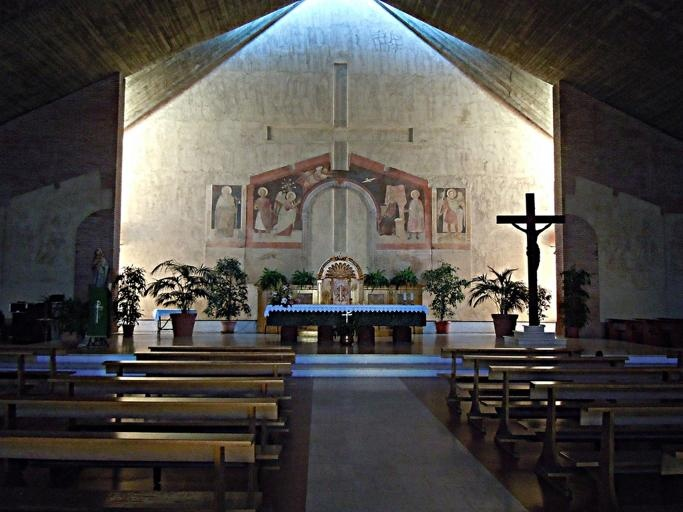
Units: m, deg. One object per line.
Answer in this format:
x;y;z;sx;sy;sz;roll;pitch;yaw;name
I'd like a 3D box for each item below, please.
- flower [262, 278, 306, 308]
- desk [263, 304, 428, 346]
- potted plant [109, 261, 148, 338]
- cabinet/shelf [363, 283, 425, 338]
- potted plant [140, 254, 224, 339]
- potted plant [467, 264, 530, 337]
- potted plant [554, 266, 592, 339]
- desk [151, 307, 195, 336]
-1.071;0.691;15.402;0.595;0.452;0.617;7;-9;-26;flower
0.080;1.270;14.890;2.900;0.780;1.524;-1;-3;-2;desk
-4.265;0.893;15.949;0.652;1.439;2.616;-1;-3;-15;potted plant
1.103;1.332;17.115;1.789;1.237;0.931;0;-6;-2;cabinet/shelf
-3.236;0.829;16.362;1.742;1.688;1.626;0;-8;-15;potted plant
3.491;0.940;16.526;1.474;1.422;1.425;1;-8;-3;potted plant
4.747;0.925;16.017;0.634;1.441;0.336;-2;-4;12;potted plant
-3.407;1.342;16.504;0.737;0.473;0.867;1;-10;-13;desk
